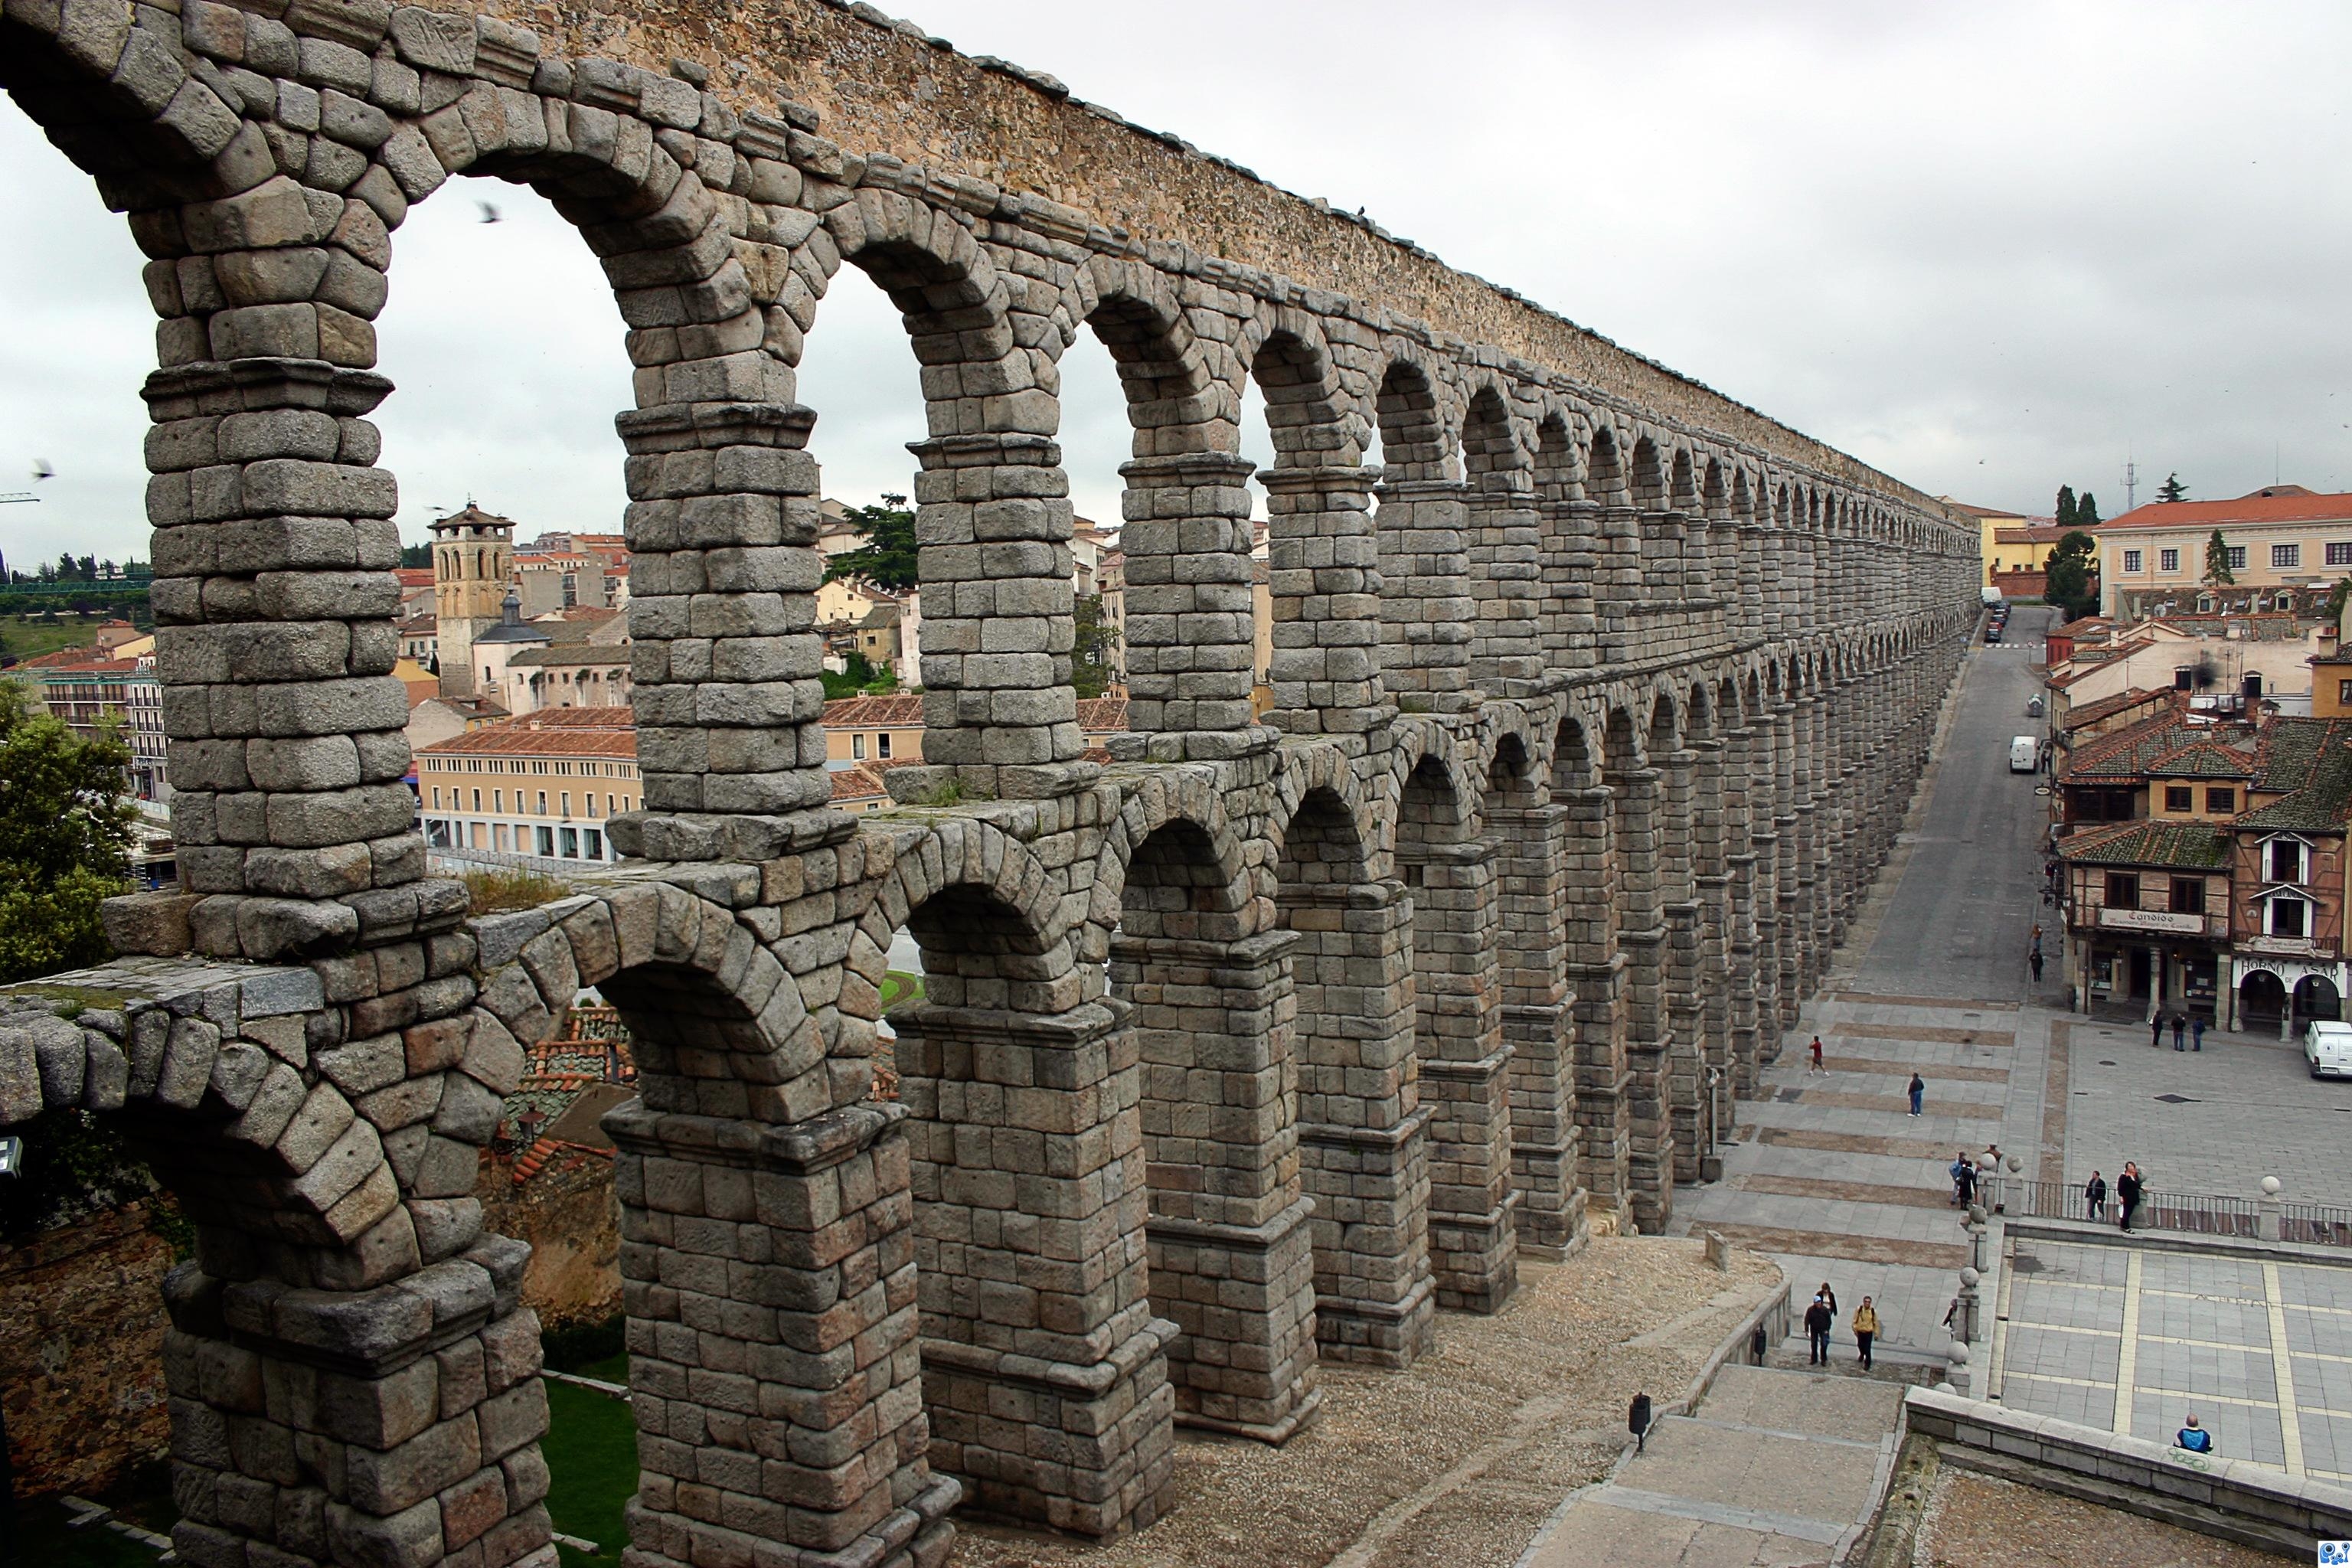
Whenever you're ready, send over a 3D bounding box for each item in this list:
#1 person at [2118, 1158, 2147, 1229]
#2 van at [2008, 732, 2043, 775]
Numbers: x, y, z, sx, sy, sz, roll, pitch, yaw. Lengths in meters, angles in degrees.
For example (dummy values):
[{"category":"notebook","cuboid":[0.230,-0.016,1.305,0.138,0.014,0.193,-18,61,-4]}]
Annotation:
[{"category":"person","cuboid":[19.432,8.315,34.431,0.439,1.141,1.486,5,4,30]},{"category":"van","cuboid":[42.537,-1.481,85.135,1.500,1.608,3.957,0,18,23]}]
